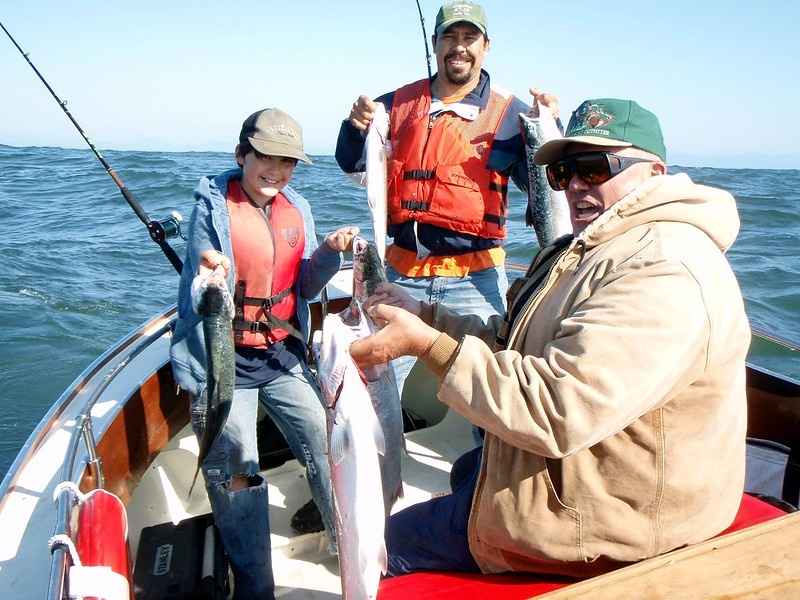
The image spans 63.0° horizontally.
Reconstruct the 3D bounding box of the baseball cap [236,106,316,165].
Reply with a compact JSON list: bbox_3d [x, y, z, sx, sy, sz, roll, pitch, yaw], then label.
[{"bbox_3d":[-0.728,-0.980,3.820,0.368,0.258,0.498,4,19,-33],"label":"baseball cap"}]

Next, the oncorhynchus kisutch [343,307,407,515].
[{"bbox_3d":[-0.203,0.592,3.306,0.263,1.168,0.385,-5,4,-4],"label":"oncorhynchus kisutch"}]

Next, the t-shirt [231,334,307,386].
[{"bbox_3d":[-0.808,0.386,3.894,0.252,0.140,0.351,-9,-16,-38],"label":"t-shirt"}]

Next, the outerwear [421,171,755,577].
[{"bbox_3d":[0.806,0.327,3.266,1.525,1.835,1.678,5,13,2],"label":"outerwear"}]

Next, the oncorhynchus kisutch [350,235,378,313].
[{"bbox_3d":[-0.221,-0.132,3.389,0.093,0.401,0.166,0,7,-31],"label":"oncorhynchus kisutch"}]

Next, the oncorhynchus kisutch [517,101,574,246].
[{"bbox_3d":[0.979,-0.770,4.482,0.334,1.420,0.464,-4,17,15],"label":"oncorhynchus kisutch"}]

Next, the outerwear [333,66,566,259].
[{"bbox_3d":[0.348,-1.001,4.717,1.641,1.321,0.806,6,9,9],"label":"outerwear"}]

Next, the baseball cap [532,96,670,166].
[{"bbox_3d":[0.916,-0.795,3.003,0.547,0.286,0.418,0,5,-34],"label":"baseball cap"}]

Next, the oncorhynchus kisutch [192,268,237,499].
[{"bbox_3d":[-1.016,0.379,3.539,0.275,1.057,0.295,-6,13,-13],"label":"oncorhynchus kisutch"}]

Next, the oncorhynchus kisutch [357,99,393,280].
[{"bbox_3d":[-0.163,-0.749,4.145,0.176,1.006,0.207,0,-9,-2],"label":"oncorhynchus kisutch"}]
